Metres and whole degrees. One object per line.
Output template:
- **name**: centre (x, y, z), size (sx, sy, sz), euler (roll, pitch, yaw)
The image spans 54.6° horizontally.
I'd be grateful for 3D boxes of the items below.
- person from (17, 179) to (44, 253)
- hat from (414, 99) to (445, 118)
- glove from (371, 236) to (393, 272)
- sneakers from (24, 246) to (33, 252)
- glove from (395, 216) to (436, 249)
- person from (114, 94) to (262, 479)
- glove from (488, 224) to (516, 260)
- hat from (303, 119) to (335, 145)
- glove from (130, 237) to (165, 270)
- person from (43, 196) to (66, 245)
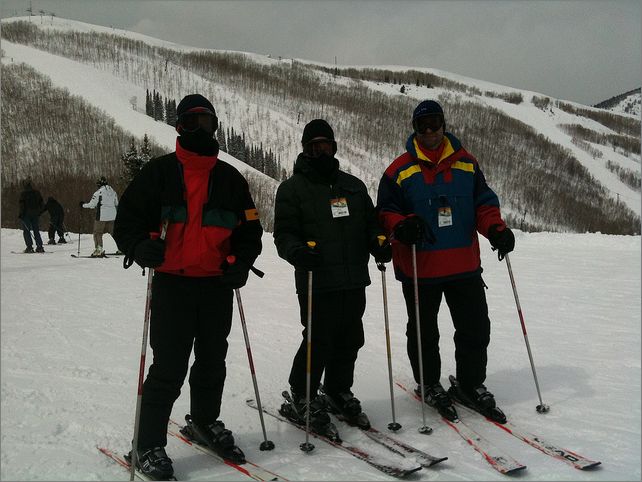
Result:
- **person**: centre (-6.999, -0.614, 15.043), size (0.544, 1.709, 1.756), euler (-4, 13, -24)
- **hat**: centre (1.101, -1.339, 6.367), size (0.314, 0.182, 0.175), euler (4, 12, 12)
- **glove**: centre (0.618, 0.116, 6.167), size (0.209, 0.366, 0.255), euler (-5, 13, -26)
- **sneakers**: centre (-6.789, 0.160, 14.447), size (0.155, 0.057, 0.112), euler (-6, 11, -42)
- **glove**: centre (0.937, -0.123, 6.164), size (0.349, 0.161, 0.278), euler (5, -43, -10)
- **person**: centre (-1.178, 0.352, 5.560), size (1.239, 3.223, 0.778), euler (-4, 12, -22)
- **glove**: centre (1.823, -0.024, 6.331), size (0.137, 0.382, 0.277), euler (-18, -57, 36)
- **hat**: centre (-0.039, -1.082, 6.142), size (0.235, 0.244, 0.268), euler (0, -14, 2)
- **glove**: centre (-1.479, 0.116, 5.390), size (0.272, 0.285, 0.217), euler (-4, 12, -21)
- **person**: centre (-7.098, -0.557, 16.632), size (0.461, 1.306, 2.159), euler (-4, 13, -22)
